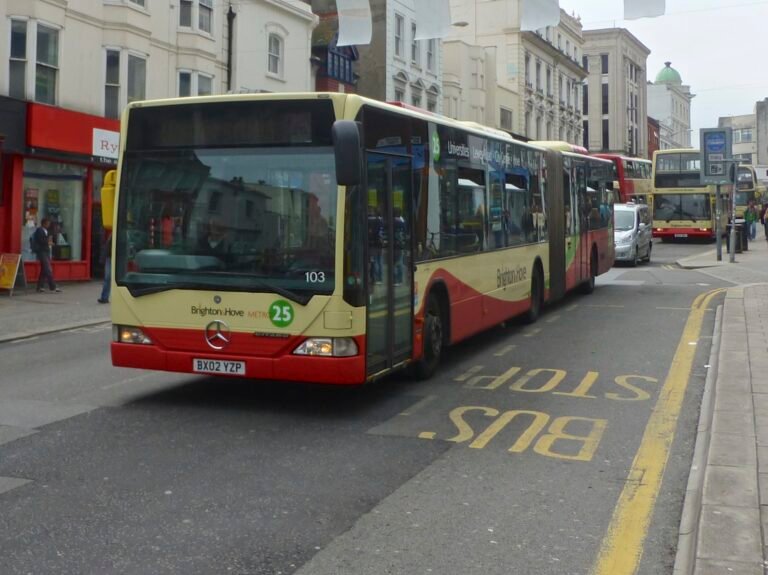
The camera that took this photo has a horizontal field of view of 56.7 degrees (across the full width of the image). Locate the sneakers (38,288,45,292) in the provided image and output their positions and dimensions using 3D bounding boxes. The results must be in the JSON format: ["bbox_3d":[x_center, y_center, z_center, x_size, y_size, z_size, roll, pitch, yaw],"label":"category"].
[{"bbox_3d":[-9.613,0.074,19.909,0.093,0.088,0.144,-1,-2,-1],"label":"sneakers"}]

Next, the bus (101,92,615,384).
[{"bbox_3d":[1.066,-0.756,12.749,3.105,3.594,12.189,0,2,28],"label":"bus"}]

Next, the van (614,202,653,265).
[{"bbox_3d":[9.608,-2.122,27.847,1.566,1.750,3.210,-1,-2,26],"label":"van"}]
